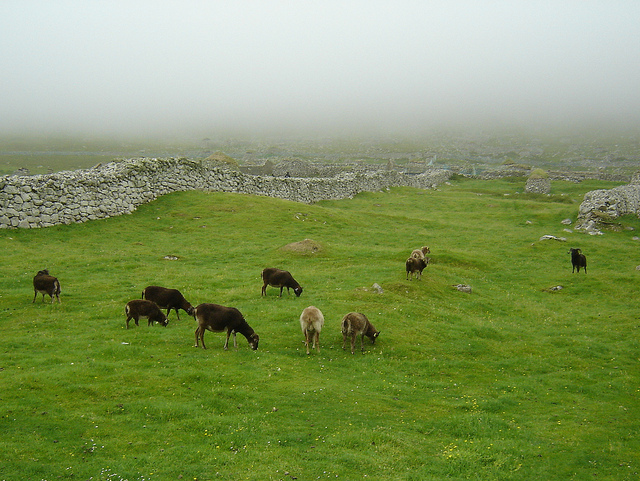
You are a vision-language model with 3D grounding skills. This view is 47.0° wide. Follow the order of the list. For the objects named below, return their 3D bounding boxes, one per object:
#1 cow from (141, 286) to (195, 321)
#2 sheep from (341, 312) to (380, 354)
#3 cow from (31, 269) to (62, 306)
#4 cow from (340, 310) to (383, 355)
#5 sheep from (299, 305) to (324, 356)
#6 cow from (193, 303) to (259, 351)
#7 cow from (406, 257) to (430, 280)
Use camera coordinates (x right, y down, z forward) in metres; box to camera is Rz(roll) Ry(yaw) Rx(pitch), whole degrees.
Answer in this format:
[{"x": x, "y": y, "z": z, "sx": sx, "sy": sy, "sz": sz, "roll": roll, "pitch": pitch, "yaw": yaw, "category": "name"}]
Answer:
[{"x": -8.272, "y": 3.545, "z": 40.613, "sx": 2.496, "sy": 2.012, "sz": 2.384, "roll": 0, "pitch": 7, "yaw": -3, "category": "cow"}, {"x": 2.076, "y": 5.080, "z": 40.121, "sx": 0.995, "sy": 2.085, "sz": 3.850, "roll": 2, "pitch": -3, "yaw": 29, "category": "sheep"}, {"x": -15.130, "y": 2.620, "z": 40.959, "sx": 1.381, "sy": 1.737, "sz": 1.368, "roll": -4, "pitch": 9, "yaw": -21, "category": "cow"}, {"x": 2.037, "y": 4.875, "z": 40.012, "sx": 2.205, "sy": 2.128, "sz": 2.033, "roll": -2, "pitch": 9, "yaw": -22, "category": "cow"}, {"x": -0.426, "y": 4.754, "z": 38.572, "sx": 1.087, "sy": 2.493, "sz": 0.877, "roll": -1, "pitch": 9, "yaw": -3, "category": "sheep"}, {"x": -4.337, "y": 4.234, "z": 39.455, "sx": 5.098, "sy": 3.090, "sz": 1.490, "roll": 1, "pitch": 1, "yaw": -17, "category": "cow"}, {"x": 6.225, "y": 1.739, "z": 47.572, "sx": 1.003, "sy": 1.446, "sz": 2.431, "roll": 2, "pitch": 9, "yaw": 18, "category": "cow"}]
